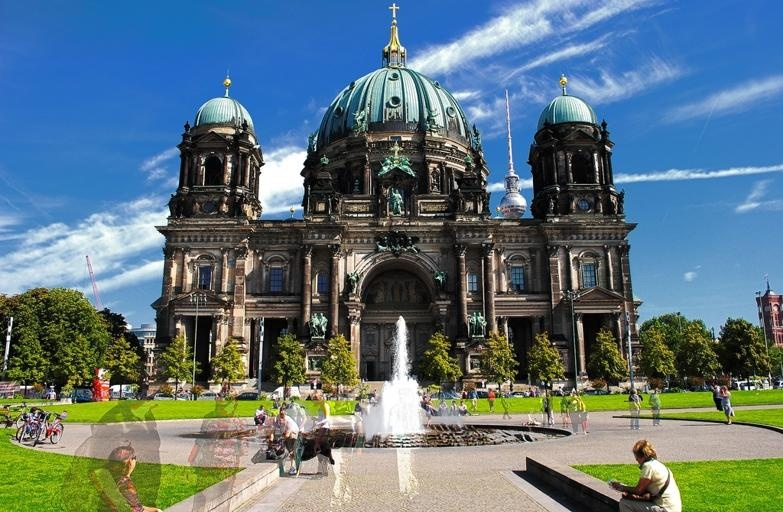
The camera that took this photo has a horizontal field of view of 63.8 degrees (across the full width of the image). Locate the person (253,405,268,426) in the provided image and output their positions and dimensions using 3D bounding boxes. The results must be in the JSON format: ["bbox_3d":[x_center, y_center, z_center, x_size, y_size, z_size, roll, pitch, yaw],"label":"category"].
[{"bbox_3d":[-8.191,9.879,39.234,0.769,1.154,2.537,0,-14,-12],"label":"person"}]

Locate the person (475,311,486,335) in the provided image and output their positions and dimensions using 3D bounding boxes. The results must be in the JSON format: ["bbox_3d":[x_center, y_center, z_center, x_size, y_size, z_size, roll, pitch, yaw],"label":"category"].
[{"bbox_3d":[10.913,8.321,76.911,1.023,2.809,1.540,-7,-15,18],"label":"person"}]
